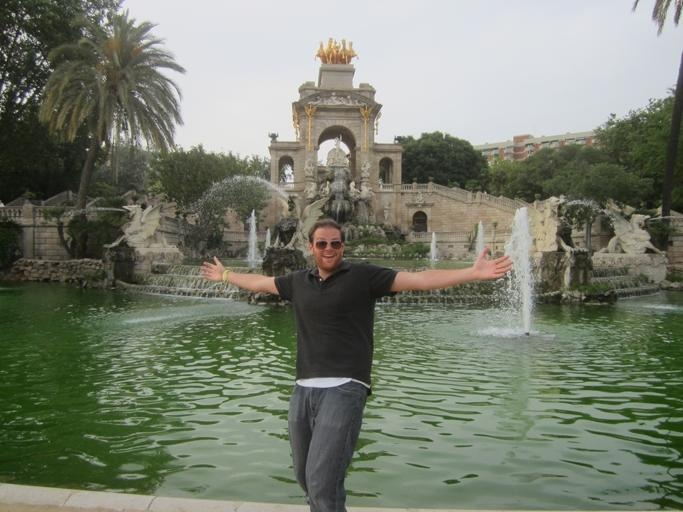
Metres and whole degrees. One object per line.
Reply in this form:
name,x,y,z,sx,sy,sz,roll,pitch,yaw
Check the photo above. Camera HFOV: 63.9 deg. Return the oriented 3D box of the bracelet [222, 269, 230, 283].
bracelet,-1.294,0.214,6.043,0.106,0.115,0.061,1,0,-10
